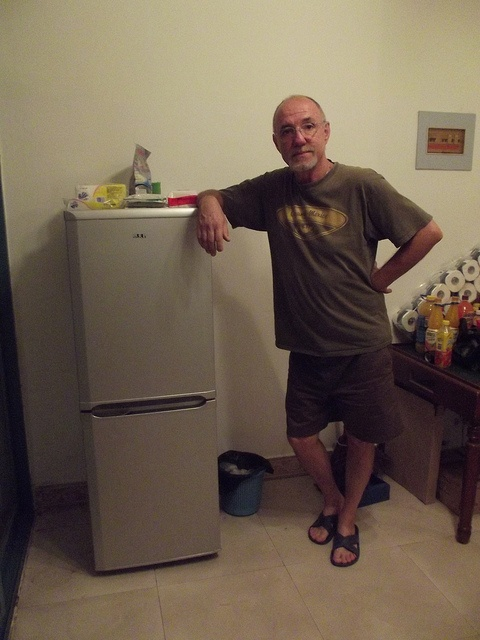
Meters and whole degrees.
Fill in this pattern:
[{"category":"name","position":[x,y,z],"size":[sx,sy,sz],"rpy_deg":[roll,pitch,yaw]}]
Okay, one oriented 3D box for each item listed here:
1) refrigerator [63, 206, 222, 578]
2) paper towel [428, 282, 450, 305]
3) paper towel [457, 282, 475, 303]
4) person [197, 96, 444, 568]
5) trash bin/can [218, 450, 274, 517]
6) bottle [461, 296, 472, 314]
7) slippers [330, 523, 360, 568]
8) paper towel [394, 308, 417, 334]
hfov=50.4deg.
[{"category":"refrigerator","position":[-0.348,0.222,1.970],"size":[0.489,1.368,0.436],"rpy_deg":[-2,17,-8]},{"category":"paper towel","position":[0.930,-0.118,2.377],"size":[0.086,0.097,0.047],"rpy_deg":[-12,1,-27]},{"category":"paper towel","position":[1.086,-0.133,2.455],"size":[0.071,0.108,0.052],"rpy_deg":[-11,10,-12]},{"category":"person","position":[0.275,0.063,1.874],"size":[0.812,1.705,0.465],"rpy_deg":[-1,9,21]},{"category":"trash bin/can","position":[0.011,0.727,2.240],"size":[0.216,0.205,0.238],"rpy_deg":[2,11,-7]},{"category":"bottle","position":[1.059,-0.063,2.384],"size":[0.055,0.086,0.056],"rpy_deg":[-1,9,0]},{"category":"slippers","position":[0.424,0.872,2.009],"size":[0.099,0.073,0.297],"rpy_deg":[0,7,17]},{"category":"paper towel","position":[0.819,0.012,2.554],"size":[0.091,0.124,0.131],"rpy_deg":[-7,10,-8]}]
